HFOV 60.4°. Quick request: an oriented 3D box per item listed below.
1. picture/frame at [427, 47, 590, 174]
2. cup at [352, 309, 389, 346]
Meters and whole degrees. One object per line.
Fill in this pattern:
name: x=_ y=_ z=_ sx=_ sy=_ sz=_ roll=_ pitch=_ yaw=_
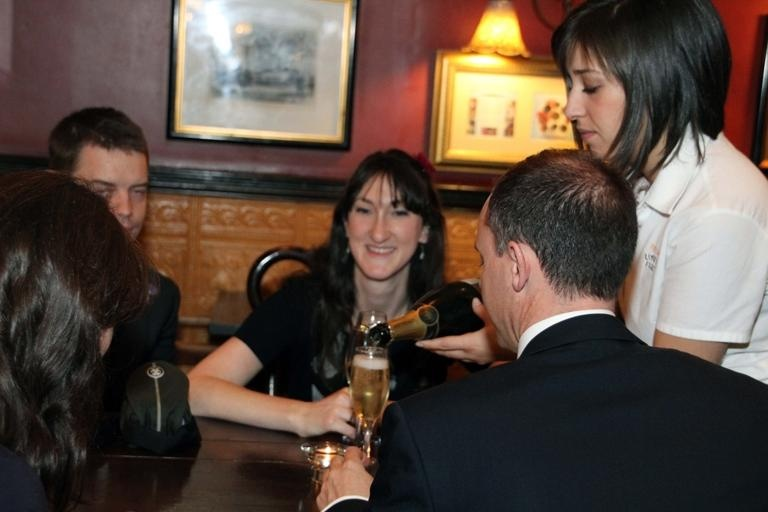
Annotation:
picture/frame: x=0.612 y=-0.831 z=3.625 sx=1.175 sy=0.815 sz=0.089 roll=-1 pitch=9 yaw=-5
cup: x=-0.043 y=0.207 z=1.929 sx=0.087 sy=0.119 sz=0.092 roll=1 pitch=-14 yaw=0
